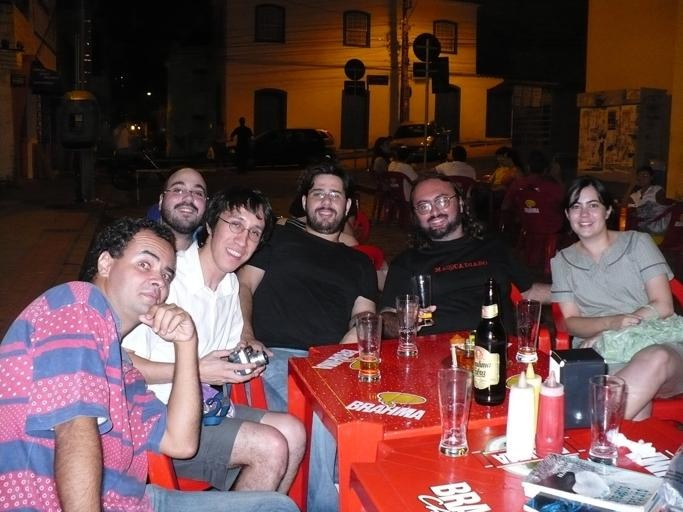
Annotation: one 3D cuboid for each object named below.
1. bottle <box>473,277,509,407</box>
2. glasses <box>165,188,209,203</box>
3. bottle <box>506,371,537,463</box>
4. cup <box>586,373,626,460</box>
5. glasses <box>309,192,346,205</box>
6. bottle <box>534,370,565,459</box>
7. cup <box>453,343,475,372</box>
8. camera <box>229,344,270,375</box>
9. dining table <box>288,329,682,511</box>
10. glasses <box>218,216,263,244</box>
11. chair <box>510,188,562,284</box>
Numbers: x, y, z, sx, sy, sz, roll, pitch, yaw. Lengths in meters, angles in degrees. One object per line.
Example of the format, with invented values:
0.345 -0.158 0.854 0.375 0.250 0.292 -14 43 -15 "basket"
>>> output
0.600 0.349 2.117 0.134 0.546 0.214 3 11 17 "bottle"
-1.202 -0.464 4.022 0.171 0.052 0.171 10 -25 -32 "glasses"
0.626 0.550 1.822 0.096 0.287 0.153 4 11 20 "bottle"
0.887 0.559 1.776 0.113 0.275 0.204 5 11 26 "cup"
-0.112 -0.425 3.696 0.228 0.079 0.073 -2 10 -10 "glasses"
0.722 0.547 1.810 0.108 0.286 0.071 -4 11 -23 "bottle"
0.550 0.460 2.391 0.107 0.133 0.128 -1 3 4 "cup"
-0.458 0.503 2.571 0.153 0.144 0.064 -13 3 -3 "camera"
0.513 0.652 2.044 0.927 0.470 0.672 -4 8 -15 "dining table"
-0.582 -0.152 3.022 0.237 0.144 0.090 -2 10 -10 "glasses"
2.691 -0.460 7.252 0.622 1.239 0.351 3 11 17 "chair"
